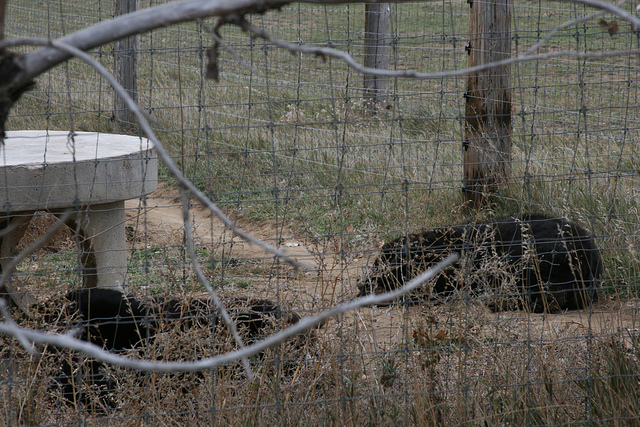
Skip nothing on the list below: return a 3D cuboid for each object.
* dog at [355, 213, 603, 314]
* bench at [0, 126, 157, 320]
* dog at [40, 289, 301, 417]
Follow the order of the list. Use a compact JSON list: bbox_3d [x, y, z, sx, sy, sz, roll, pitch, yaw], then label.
[{"bbox_3d":[1.723,0.525,12.120,1.965,1.032,2.599,-4,1,13],"label":"dog"},{"bbox_3d":[-2.456,-0.004,12.276,2.007,1.472,1.995,1,-1,0],"label":"bench"},{"bbox_3d":[-1.377,1.197,11.388,2.347,1.143,1.721,-4,0,-6],"label":"dog"}]
